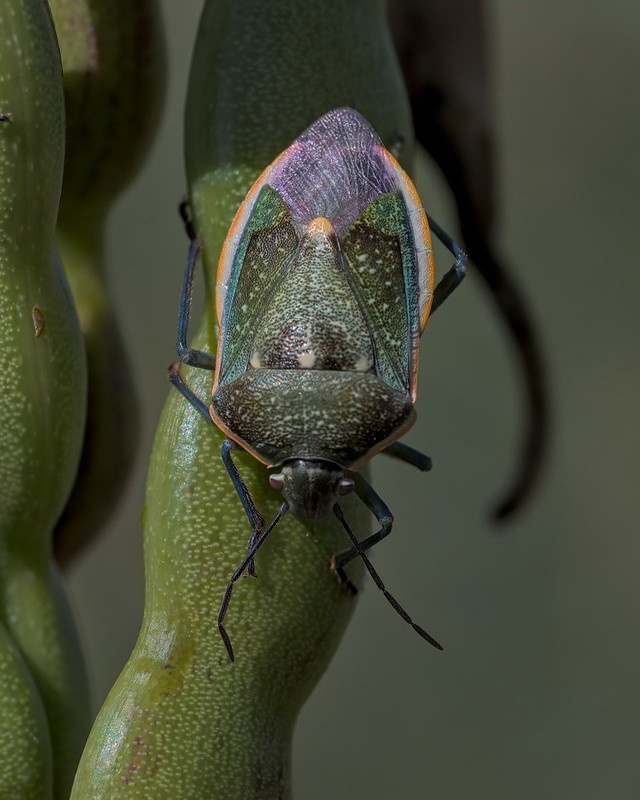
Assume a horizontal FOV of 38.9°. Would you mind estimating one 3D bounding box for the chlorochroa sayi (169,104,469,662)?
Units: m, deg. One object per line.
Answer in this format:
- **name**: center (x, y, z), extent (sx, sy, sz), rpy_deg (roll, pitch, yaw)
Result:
- **chlorochroa sayi**: center (-0.017, -0.015, 0.757), extent (0.305, 0.461, 0.130), rpy_deg (25, -30, -26)
